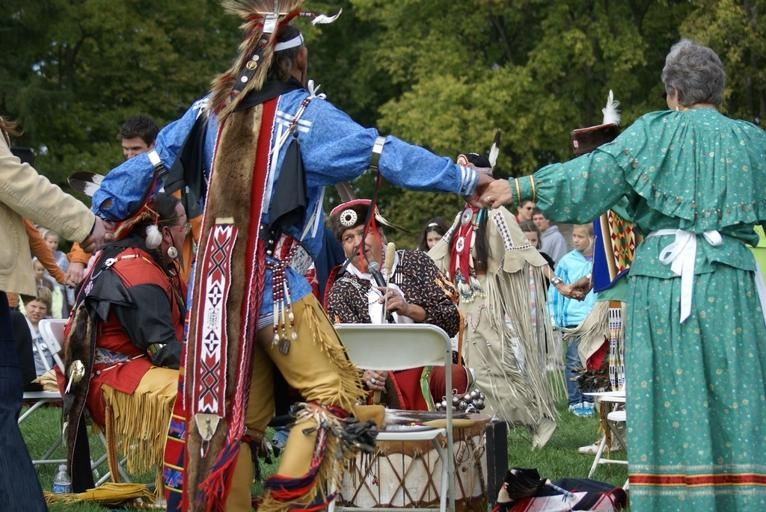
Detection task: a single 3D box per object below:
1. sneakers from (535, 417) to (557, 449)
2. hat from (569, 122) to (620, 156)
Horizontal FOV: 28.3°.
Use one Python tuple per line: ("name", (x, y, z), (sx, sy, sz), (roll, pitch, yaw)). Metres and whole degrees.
("sneakers", (1.411, 1.584, 13.573), (0.174, 0.266, 0.084), (50, 6, 37))
("hat", (1.579, -0.894, 11.539), (0.314, 0.221, 0.262), (-5, 12, 22))
